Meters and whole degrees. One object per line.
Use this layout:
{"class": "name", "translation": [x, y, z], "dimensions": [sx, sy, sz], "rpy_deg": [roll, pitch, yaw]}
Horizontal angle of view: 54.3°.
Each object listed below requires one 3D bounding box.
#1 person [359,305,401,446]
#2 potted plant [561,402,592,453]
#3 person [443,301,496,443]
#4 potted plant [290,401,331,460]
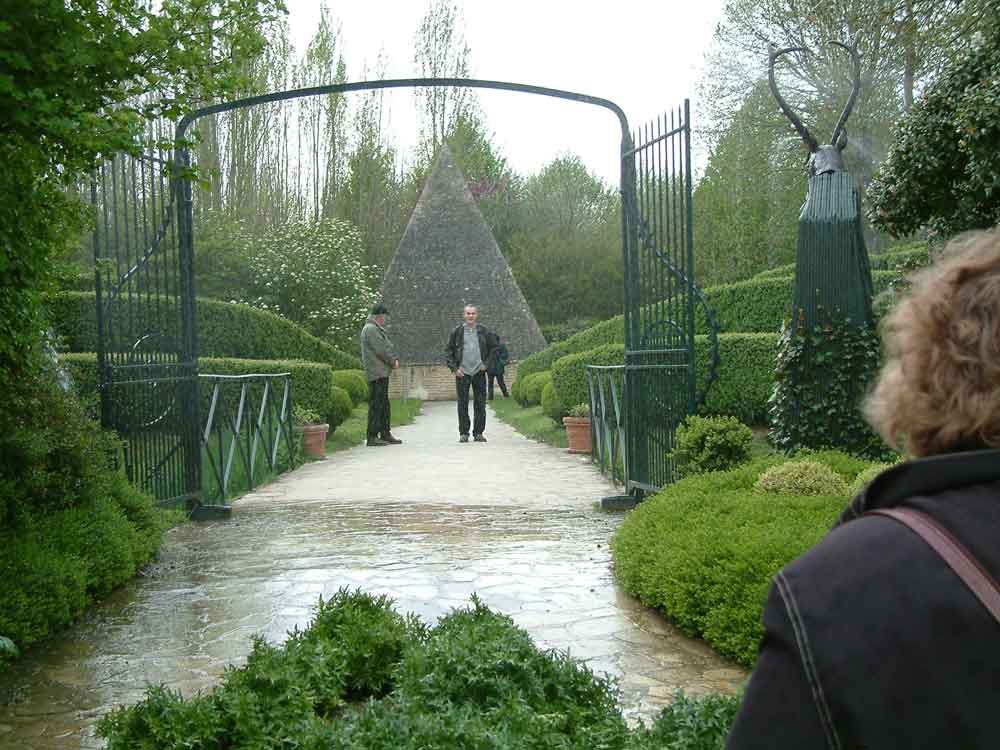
{"class": "person", "translation": [-1.747, 0.007, 14.398], "dimensions": [0.487, 2.062, 1.255], "rpy_deg": [-1, 3, -7]}
{"class": "potted plant", "translation": [1.095, 0.782, 13.687], "dimensions": [0.469, 0.571, 0.518], "rpy_deg": [0, -3, 0]}
{"class": "person", "translation": [-0.486, -0.020, 15.391], "dimensions": [0.659, 2.126, 1.252], "rpy_deg": [-1, 3, -3]}
{"class": "potted plant", "translation": [-2.570, 0.757, 13.253], "dimensions": [0.562, 0.707, 0.598], "rpy_deg": [1, 6, 15]}
